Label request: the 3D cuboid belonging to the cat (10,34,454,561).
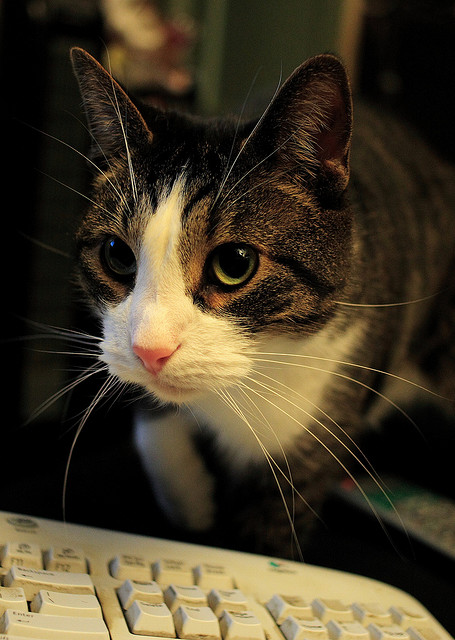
[{"bbox_3d":[0.079,-0.156,1.165,0.543,0.577,1.002,12,35,21],"label":"cat"}]
